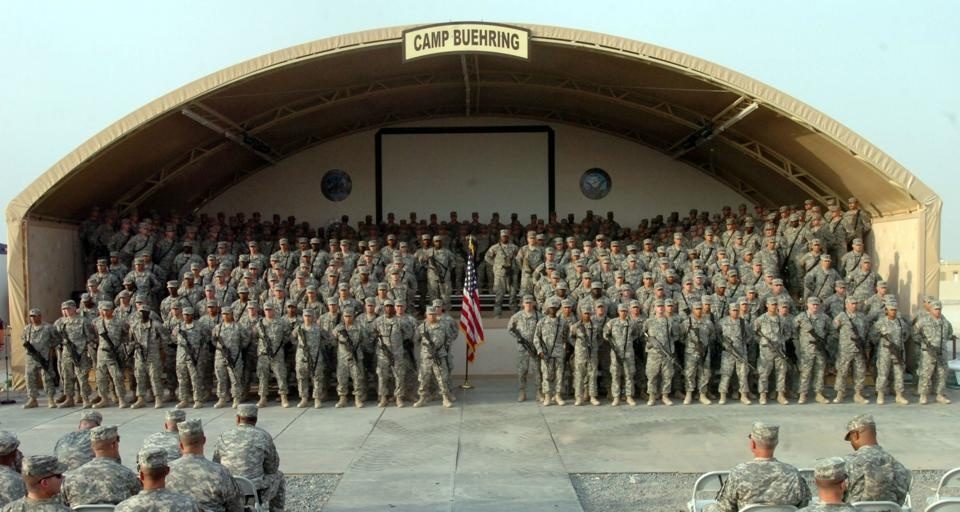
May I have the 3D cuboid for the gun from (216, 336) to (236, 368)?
[{"bbox_3d":[-8.207,3.073,36.354,0.459,1.106,0.193,-26,-4,12],"label":"gun"}]

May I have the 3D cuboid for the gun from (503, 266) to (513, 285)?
[{"bbox_3d":[1.036,0.703,40.584,0.312,0.666,0.190,-24,-5,-4],"label":"gun"}]

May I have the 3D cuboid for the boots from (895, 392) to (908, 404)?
[{"bbox_3d":[13.669,4.622,36.424,0.517,0.372,0.362,-2,-7,-13],"label":"boots"}]

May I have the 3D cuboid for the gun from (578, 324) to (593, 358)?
[{"bbox_3d":[3.398,2.727,36.155,0.528,1.084,0.269,-6,-6,8],"label":"gun"}]

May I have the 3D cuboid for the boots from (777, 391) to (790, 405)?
[{"bbox_3d":[9.839,4.621,36.403,0.422,0.369,0.298,0,-8,-29],"label":"boots"}]

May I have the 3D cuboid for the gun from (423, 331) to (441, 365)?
[{"bbox_3d":[-1.585,2.965,36.382,0.594,1.144,0.215,-3,-8,-6],"label":"gun"}]

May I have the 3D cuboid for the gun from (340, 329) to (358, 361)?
[{"bbox_3d":[-4.234,2.870,36.364,0.557,1.022,0.127,-2,-8,-18],"label":"gun"}]

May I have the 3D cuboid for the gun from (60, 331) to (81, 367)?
[{"bbox_3d":[-13.378,3.031,36.775,0.511,1.239,0.195,-29,-7,27],"label":"gun"}]

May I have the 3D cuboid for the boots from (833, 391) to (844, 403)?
[{"bbox_3d":[11.640,4.596,36.581,0.339,0.387,0.539,-6,-7,17],"label":"boots"}]

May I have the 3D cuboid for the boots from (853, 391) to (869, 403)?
[{"bbox_3d":[12.359,4.630,36.573,0.471,0.344,0.446,-4,-7,8],"label":"boots"}]

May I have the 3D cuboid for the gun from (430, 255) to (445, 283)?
[{"bbox_3d":[-1.501,0.460,39.985,0.325,0.917,0.387,-9,-21,-10],"label":"gun"}]

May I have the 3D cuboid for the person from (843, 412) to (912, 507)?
[{"bbox_3d":[10.292,5.387,29.440,1.601,2.351,0.467,-3,-8,-4],"label":"person"}]

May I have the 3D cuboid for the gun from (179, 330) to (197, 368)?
[{"bbox_3d":[-9.500,3.021,36.471,0.506,1.271,0.108,-21,-4,-2],"label":"gun"}]

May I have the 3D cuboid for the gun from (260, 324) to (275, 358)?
[{"bbox_3d":[-6.940,2.804,36.496,0.586,1.169,0.264,-12,-4,-1],"label":"gun"}]

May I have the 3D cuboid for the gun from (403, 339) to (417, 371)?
[{"bbox_3d":[-2.285,3.220,36.995,0.352,1.112,0.358,-17,10,5],"label":"gun"}]

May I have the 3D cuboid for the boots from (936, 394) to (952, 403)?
[{"bbox_3d":[14.959,4.664,36.406,0.503,0.329,0.179,-3,3,15],"label":"boots"}]

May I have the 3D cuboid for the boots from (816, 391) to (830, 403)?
[{"bbox_3d":[11.105,4.626,36.559,0.459,0.344,0.509,-4,-6,6],"label":"boots"}]

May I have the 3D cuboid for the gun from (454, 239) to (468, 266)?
[{"bbox_3d":[-0.746,-0.151,43.034,0.695,0.821,0.243,0,6,31],"label":"gun"}]

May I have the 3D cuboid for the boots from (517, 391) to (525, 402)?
[{"bbox_3d":[1.358,4.607,36.883,0.253,0.337,0.368,-4,-7,2],"label":"boots"}]

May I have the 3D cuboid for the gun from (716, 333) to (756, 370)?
[{"bbox_3d":[8.377,3.096,36.537,1.028,1.173,0.536,0,-8,-28],"label":"gun"}]

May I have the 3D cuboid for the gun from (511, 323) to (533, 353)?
[{"bbox_3d":[1.356,2.726,36.668,0.796,1.020,0.243,-4,-7,1],"label":"gun"}]

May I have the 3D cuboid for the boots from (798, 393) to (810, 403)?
[{"bbox_3d":[10.419,4.639,36.438,0.308,0.326,0.471,-5,-7,14],"label":"boots"}]

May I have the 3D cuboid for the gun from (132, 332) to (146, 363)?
[{"bbox_3d":[-11.127,2.956,36.685,0.442,1.005,0.222,-33,-26,32],"label":"gun"}]

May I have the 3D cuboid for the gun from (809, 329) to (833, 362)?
[{"bbox_3d":[11.016,2.906,36.534,0.562,1.154,0.379,-39,13,-4],"label":"gun"}]
